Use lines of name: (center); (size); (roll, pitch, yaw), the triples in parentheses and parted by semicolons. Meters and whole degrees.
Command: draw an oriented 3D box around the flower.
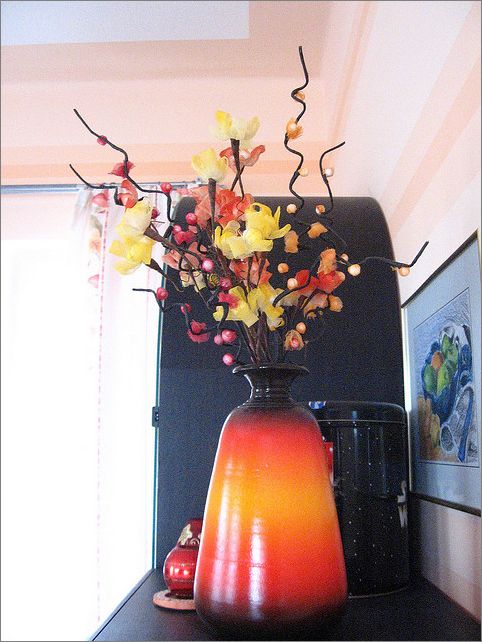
flower: (0.023, -0.095, 0.714); (0.322, 0.348, 0.578); (-4, -9, 5)
